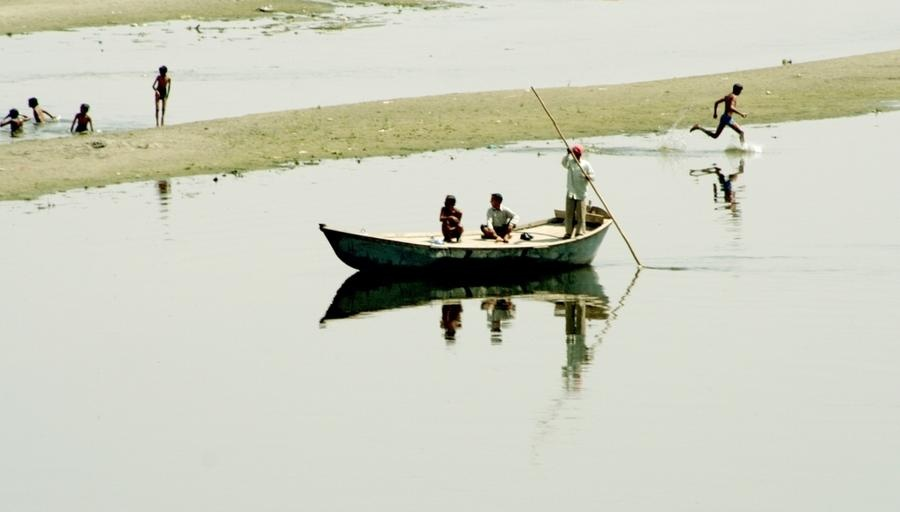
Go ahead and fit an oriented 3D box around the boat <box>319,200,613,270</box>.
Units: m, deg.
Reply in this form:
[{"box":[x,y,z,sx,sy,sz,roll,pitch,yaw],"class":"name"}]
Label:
[{"box":[0.781,-0.470,62.886,12.381,2.339,3.941,0,-2,-8],"class":"boat"}]
